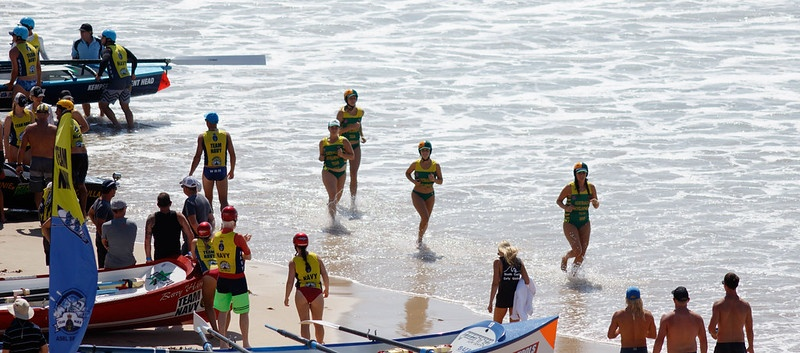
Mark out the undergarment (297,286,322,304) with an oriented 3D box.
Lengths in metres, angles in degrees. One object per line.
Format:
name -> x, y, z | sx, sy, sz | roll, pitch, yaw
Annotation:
undergarment -> -3.176, 4.092, 42.165 | 0.799, 0.551, 0.286 | 2, 47, -2

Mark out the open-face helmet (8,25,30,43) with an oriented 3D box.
open-face helmet -> -15.237, -5.764, 48.131 | 0.574, 0.567, 0.580 | -5, 13, -20

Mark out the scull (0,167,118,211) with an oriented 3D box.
scull -> -13.011, 0.457, 46.236 | 4.976, 0.865, 1.815 | 1, 6, -4

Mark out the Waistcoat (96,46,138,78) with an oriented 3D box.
Waistcoat -> -12.338, -4.967, 51.474 | 0.998, 1.499, 2.388 | -16, 2, 24

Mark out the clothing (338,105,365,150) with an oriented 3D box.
clothing -> -1.939, -1.991, 48.106 | 0.967, 1.671, 0.633 | -5, 15, -15

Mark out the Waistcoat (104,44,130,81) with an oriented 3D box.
Waistcoat -> -12.057, -4.961, 51.182 | 0.364, 1.435, 0.907 | 11, 18, 39
